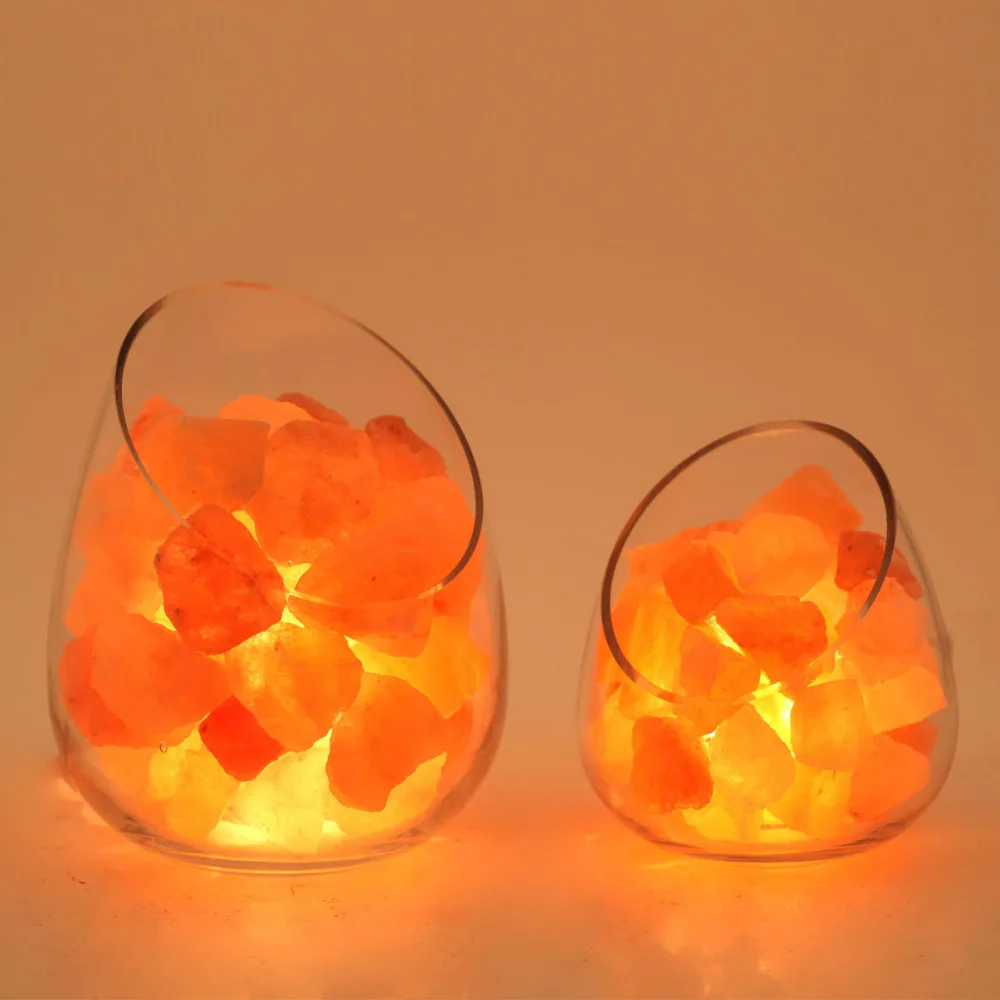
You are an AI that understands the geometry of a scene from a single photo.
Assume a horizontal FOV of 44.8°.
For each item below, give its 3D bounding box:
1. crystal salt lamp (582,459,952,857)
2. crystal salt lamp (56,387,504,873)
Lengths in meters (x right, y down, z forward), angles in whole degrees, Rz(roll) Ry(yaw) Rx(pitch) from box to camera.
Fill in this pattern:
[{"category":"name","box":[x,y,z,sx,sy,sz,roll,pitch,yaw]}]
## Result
[{"category":"crystal salt lamp","box":[0.235,0.143,1.080,0.287,0.214,0.292,-14,38,17]},{"category":"crystal salt lamp","box":[-0.188,0.096,0.998,0.372,0.221,0.359,2,60,4]}]
